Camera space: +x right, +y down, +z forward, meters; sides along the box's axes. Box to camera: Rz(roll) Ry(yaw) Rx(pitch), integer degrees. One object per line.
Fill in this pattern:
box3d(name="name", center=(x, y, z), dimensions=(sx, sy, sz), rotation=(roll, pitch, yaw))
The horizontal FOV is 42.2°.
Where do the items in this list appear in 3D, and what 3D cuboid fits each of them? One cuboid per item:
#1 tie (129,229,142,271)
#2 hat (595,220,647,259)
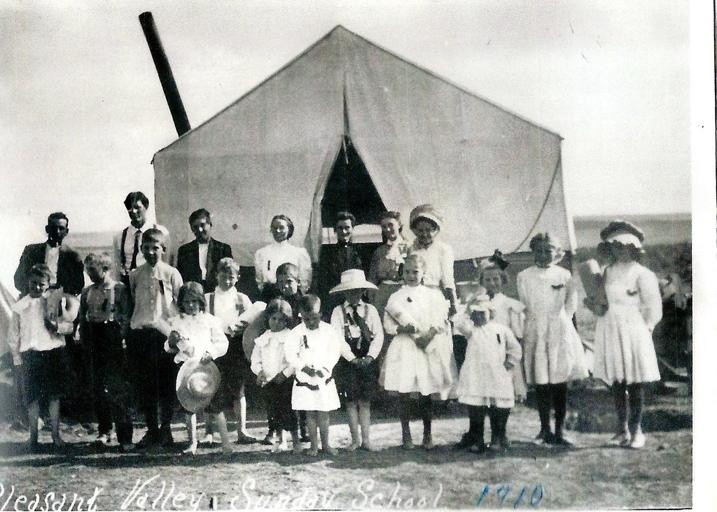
box3d(name="tie", center=(-2.141, -0.066, 8.929), dimensions=(0.059, 0.477, 0.051), rotation=(5, -10, 3))
box3d(name="hat", center=(2.568, -0.251, 9.051), dimensions=(0.423, 0.250, 0.430), rotation=(13, 3, 3))
